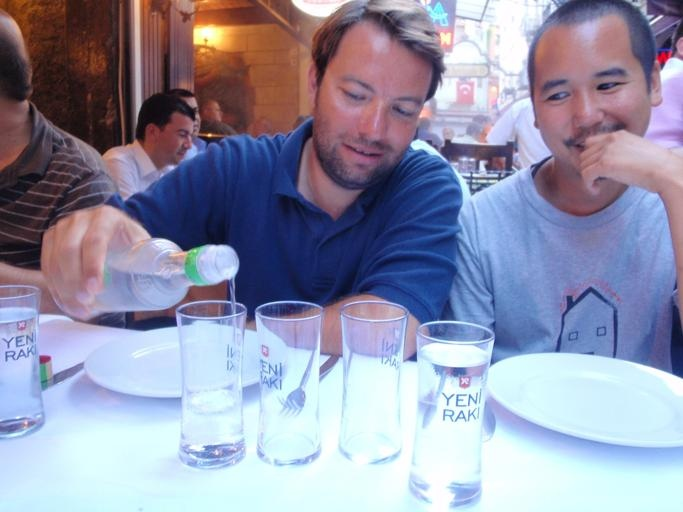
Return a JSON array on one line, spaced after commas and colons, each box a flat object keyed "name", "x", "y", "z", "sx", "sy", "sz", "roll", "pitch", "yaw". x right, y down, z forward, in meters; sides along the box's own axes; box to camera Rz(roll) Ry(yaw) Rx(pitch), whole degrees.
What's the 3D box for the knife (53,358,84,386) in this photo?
[{"name": "knife", "x": -0.692, "y": 0.291, "z": 1.526, "sx": 0.024, "sy": 0.006, "sz": 0.123, "roll": 33, "pitch": 19, "yaw": 4}]
